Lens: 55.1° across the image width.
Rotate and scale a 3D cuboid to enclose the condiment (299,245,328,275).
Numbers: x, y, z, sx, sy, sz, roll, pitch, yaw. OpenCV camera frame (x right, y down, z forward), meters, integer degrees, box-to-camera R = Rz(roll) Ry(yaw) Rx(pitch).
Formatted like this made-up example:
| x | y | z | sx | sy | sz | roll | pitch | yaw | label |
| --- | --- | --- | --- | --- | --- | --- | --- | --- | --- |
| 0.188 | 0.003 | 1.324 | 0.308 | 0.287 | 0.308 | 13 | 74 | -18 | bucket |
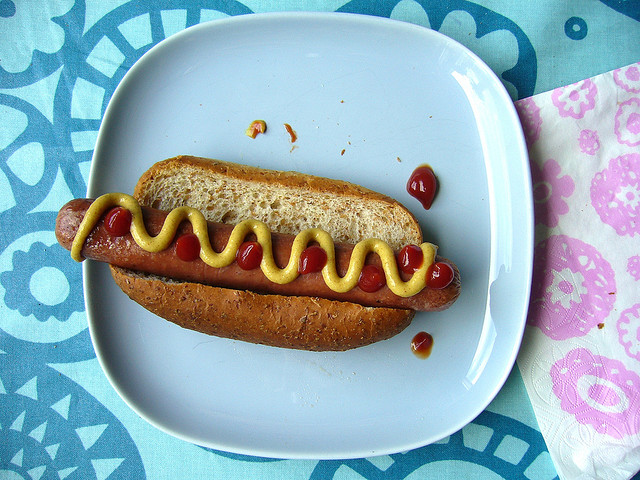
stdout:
| x | y | z | sx | sy | sz | roll | pitch | yaw | label |
| --- | --- | --- | --- | --- | --- | --- | --- | --- | --- |
| -0.047 | 0.146 | 4.341 | 0.200 | 0.118 | 0.162 | 0 | 62 | -6 | condiment |
